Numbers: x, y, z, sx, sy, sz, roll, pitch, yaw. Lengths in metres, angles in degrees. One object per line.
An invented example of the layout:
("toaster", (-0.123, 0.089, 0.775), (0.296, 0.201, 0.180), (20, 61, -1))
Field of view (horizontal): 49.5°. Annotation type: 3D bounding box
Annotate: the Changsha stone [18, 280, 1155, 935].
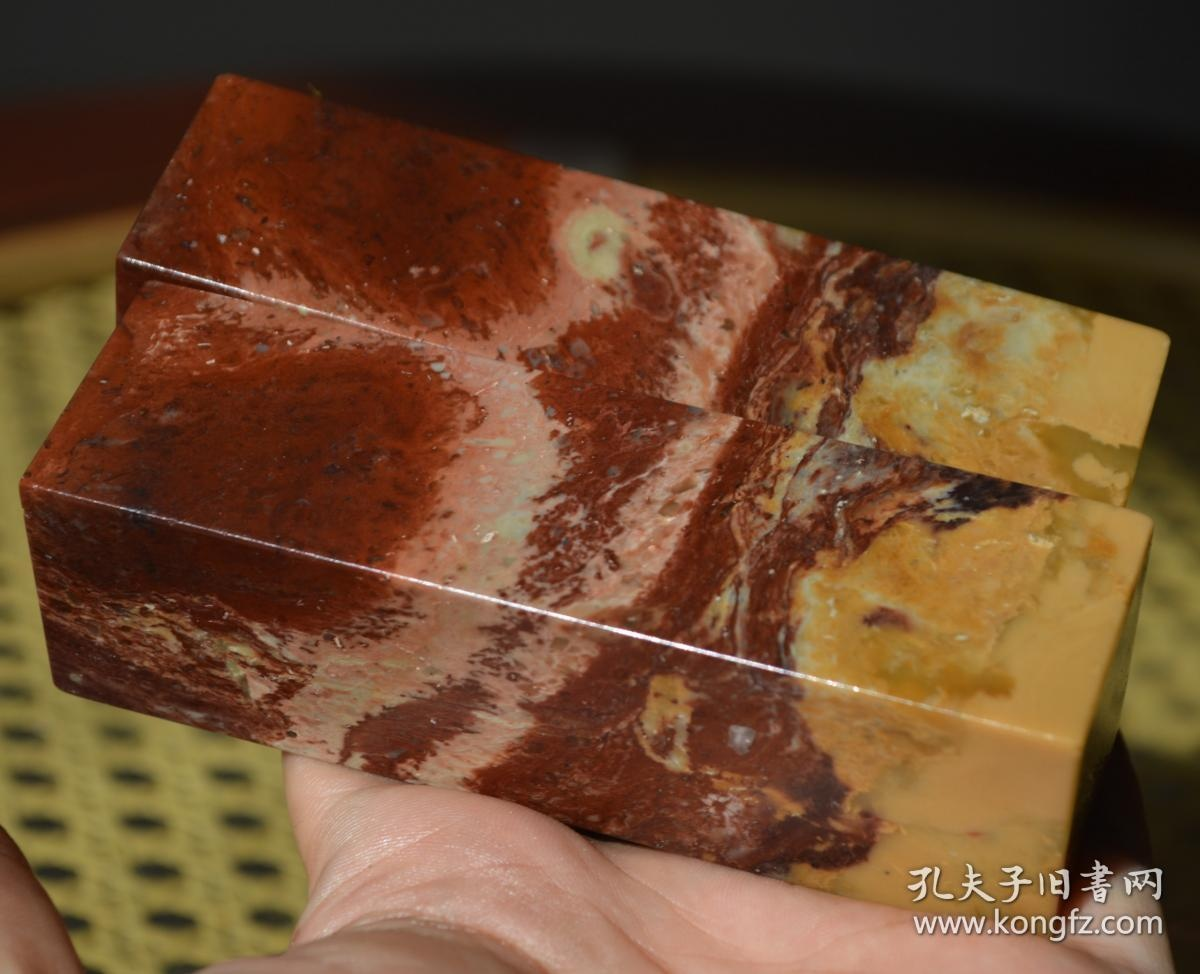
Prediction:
("Changsha stone", (0.012, 0.070, 0.829), (0.636, 0.140, 0.349), (15, 58, 28))
